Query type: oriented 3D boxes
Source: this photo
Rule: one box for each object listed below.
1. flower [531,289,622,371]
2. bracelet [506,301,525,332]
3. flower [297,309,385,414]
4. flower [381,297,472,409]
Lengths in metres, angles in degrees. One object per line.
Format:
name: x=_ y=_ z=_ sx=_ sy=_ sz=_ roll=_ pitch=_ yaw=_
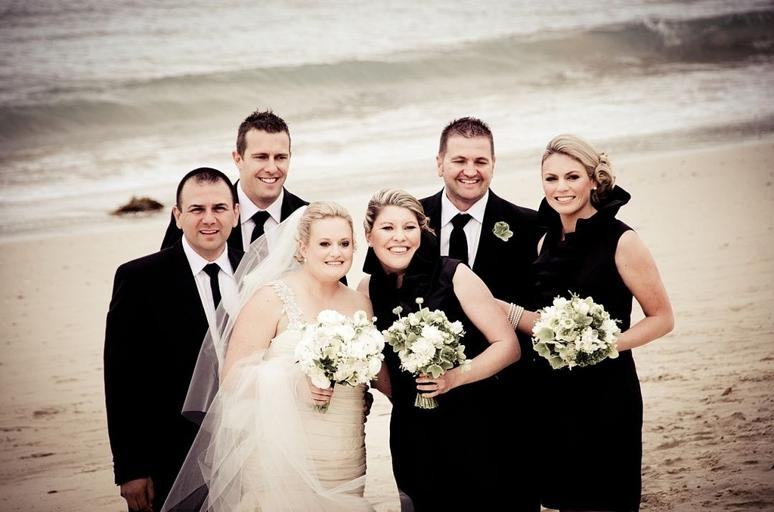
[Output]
flower: x=2.137 y=0.882 z=9.637 sx=1.019 sy=0.693 sz=0.843 roll=-2 pitch=32 yaw=-2
bracelet: x=1.492 y=0.692 z=9.895 sx=0.115 sy=0.238 sz=0.233 roll=6 pitch=-10 yaw=-4
flower: x=-0.451 y=1.127 z=9.505 sx=0.963 sy=0.836 sz=0.908 roll=1 pitch=-24 yaw=0
flower: x=0.483 y=1.059 z=9.379 sx=0.834 sy=0.893 sz=0.861 roll=-33 pitch=5 yaw=28
